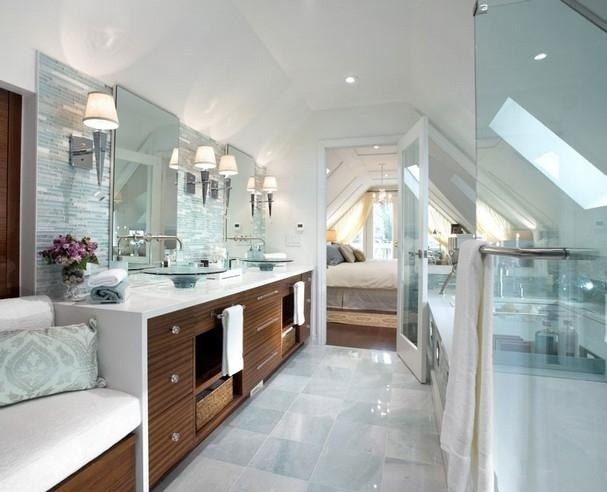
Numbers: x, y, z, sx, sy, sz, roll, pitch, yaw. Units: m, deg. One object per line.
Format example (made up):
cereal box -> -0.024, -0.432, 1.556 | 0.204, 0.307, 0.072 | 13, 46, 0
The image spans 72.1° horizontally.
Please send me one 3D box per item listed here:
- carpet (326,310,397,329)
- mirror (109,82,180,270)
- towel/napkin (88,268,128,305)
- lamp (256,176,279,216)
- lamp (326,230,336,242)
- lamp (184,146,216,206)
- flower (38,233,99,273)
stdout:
carpet -> 0.741, 0.924, 5.370 | 0.987, 0.060, 0.872 | 2, 5, 21
mirror -> -0.983, -0.417, 2.694 | 0.163, 1.085, 0.608 | 1, 4, 11
towel/napkin -> -0.936, 0.189, 1.999 | 0.174, 0.071, 0.136 | 3, 3, 9
lamp -> -0.348, -0.505, 4.339 | 0.180, 0.423, 0.186 | -5, -6, 32
lamp -> 0.600, -0.211, 8.917 | 0.217, 0.300, 0.417 | 1, 1, 13
lamp -> -0.772, -0.558, 3.236 | 0.166, 0.470, 0.447 | -1, 5, -15
flower -> -1.160, 0.035, 2.063 | 0.176, 0.141, 0.186 | 1, -3, -13
